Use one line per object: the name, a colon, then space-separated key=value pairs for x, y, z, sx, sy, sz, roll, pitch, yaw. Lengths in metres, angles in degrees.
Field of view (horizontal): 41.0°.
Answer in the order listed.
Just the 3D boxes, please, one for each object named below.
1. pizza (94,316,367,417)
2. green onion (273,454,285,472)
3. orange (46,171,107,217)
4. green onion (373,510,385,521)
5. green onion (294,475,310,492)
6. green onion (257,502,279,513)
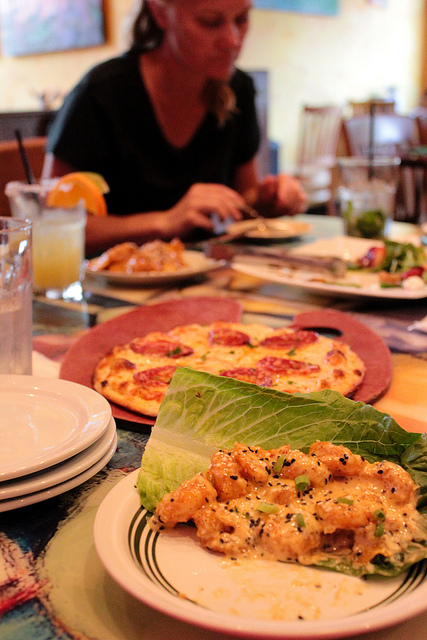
pizza: x=0.014 y=0.078 z=0.917 sx=0.383 sy=0.038 sz=0.365 roll=-9 pitch=20 yaw=9
green onion: x=0.058 y=0.126 z=0.501 sx=0.007 sy=0.003 sz=0.014 roll=14 pitch=54 yaw=34
orange: x=-0.357 y=-0.327 z=1.494 sx=0.088 sy=0.108 sz=0.184 roll=2 pitch=13 yaw=14
green onion: x=0.127 y=0.149 z=0.435 sx=0.003 sy=0.007 sz=0.007 roll=-3 pitch=-32 yaw=-28
green onion: x=0.073 y=0.135 z=0.474 sx=0.013 sy=0.011 sz=0.009 roll=8 pitch=24 yaw=-6
green onion: x=0.043 y=0.153 z=0.462 sx=0.010 sy=0.002 sz=0.009 roll=16 pitch=17 yaw=22
